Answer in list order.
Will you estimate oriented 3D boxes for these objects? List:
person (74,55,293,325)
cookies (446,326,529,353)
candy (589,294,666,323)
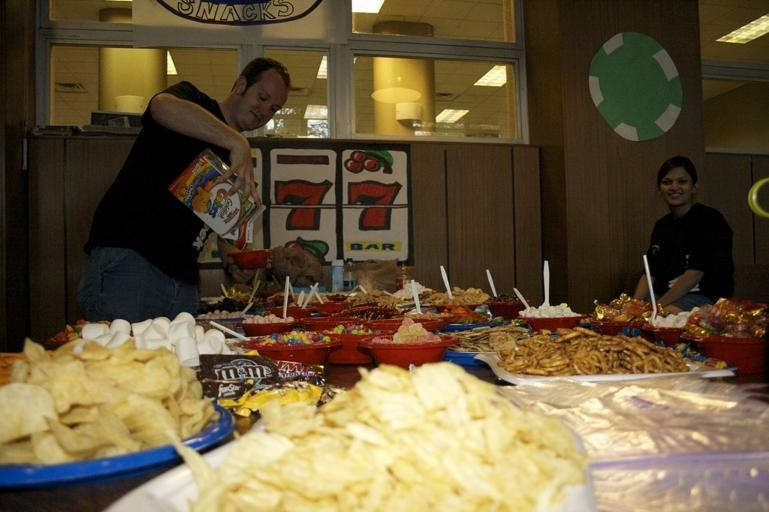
[{"bbox_3d":[-0.837,-0.338,2.646,0.825,1.154,0.621,1,0,-27],"label":"person"},{"bbox_3d":[0.329,0.263,2.000,0.211,0.064,0.216,-2,0,11],"label":"cookies"},{"bbox_3d":[0.870,0.195,2.248,0.143,0.055,0.114,0,-1,-6],"label":"candy"}]
